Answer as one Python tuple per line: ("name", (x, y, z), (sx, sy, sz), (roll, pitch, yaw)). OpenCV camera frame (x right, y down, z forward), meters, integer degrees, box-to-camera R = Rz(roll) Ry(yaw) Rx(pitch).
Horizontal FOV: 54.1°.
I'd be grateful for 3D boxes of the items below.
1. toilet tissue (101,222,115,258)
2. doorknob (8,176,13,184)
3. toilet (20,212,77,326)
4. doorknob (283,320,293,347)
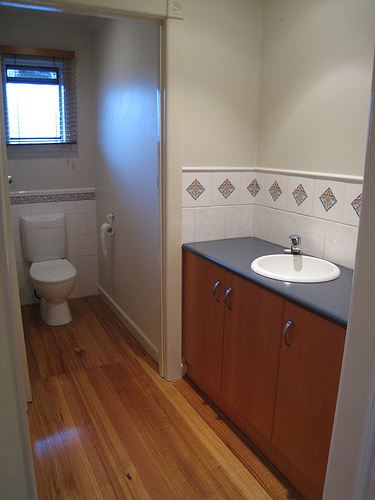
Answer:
("toilet tissue", (-0.700, -0.094, 3.240), (0.083, 0.357, 0.177), (-5, 19, -20))
("doorknob", (-1.571, -0.622, 3.275), (0.029, 0.068, 0.129), (-5, 15, -25))
("toilet", (-1.238, 0.193, 3.343), (0.389, 1.103, 0.777), (-7, 11, -36))
("doorknob", (0.417, 0.349, 1.548), (0.030, 0.123, 0.036), (1, 11, 3))
